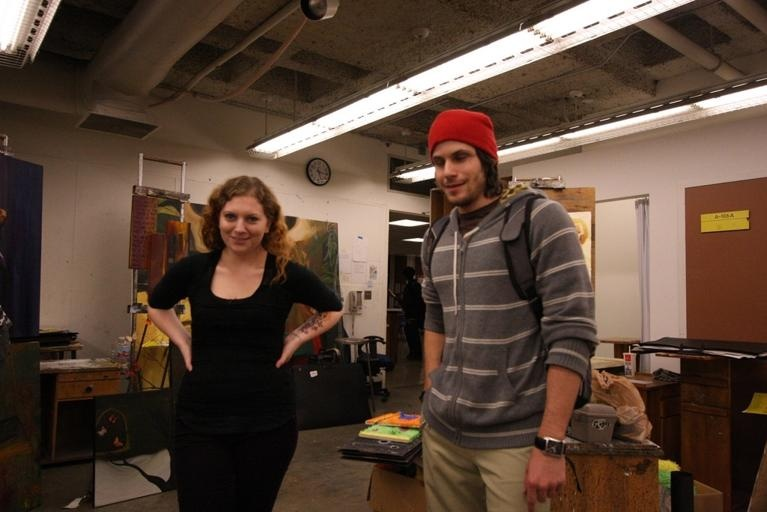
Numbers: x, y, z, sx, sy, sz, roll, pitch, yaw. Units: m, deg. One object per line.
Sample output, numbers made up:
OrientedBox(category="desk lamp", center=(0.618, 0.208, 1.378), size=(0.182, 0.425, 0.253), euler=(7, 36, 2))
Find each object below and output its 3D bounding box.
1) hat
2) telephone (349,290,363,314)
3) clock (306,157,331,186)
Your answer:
OrientedBox(category="hat", center=(0.467, -0.711, 3.369), size=(0.499, 0.288, 0.439), euler=(-8, 6, -20))
OrientedBox(category="telephone", center=(-0.456, 0.803, 9.505), size=(0.149, 0.400, 0.332), euler=(-1, -4, 42))
OrientedBox(category="clock", center=(-1.107, -1.410, 9.298), size=(0.045, 0.382, 0.418), euler=(-4, -24, 42))
